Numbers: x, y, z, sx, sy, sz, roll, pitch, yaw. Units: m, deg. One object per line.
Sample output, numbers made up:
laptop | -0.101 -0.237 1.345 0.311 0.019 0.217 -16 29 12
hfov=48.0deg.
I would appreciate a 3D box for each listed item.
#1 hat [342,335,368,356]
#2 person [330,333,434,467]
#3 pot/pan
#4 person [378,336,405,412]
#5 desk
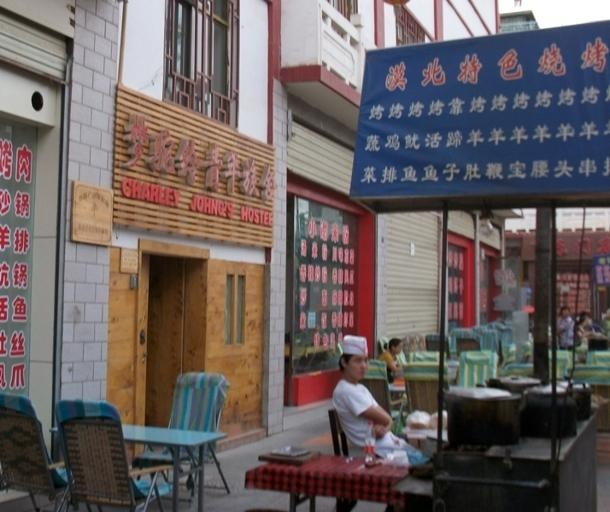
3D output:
hat | 0.444 0.791 5.980 0.169 0.181 0.196 -2 -6 17
person | 0.599 1.157 5.713 0.502 0.999 0.831 2 -10 -22
pot/pan | 1.345 1.053 4.506 0.606 0.266 0.514 1 -7 -21
person | 1.351 1.856 10.436 0.482 1.148 0.388 2 17 5
desk | 0.185 1.590 4.758 1.117 0.350 0.503 -7 -11 23
